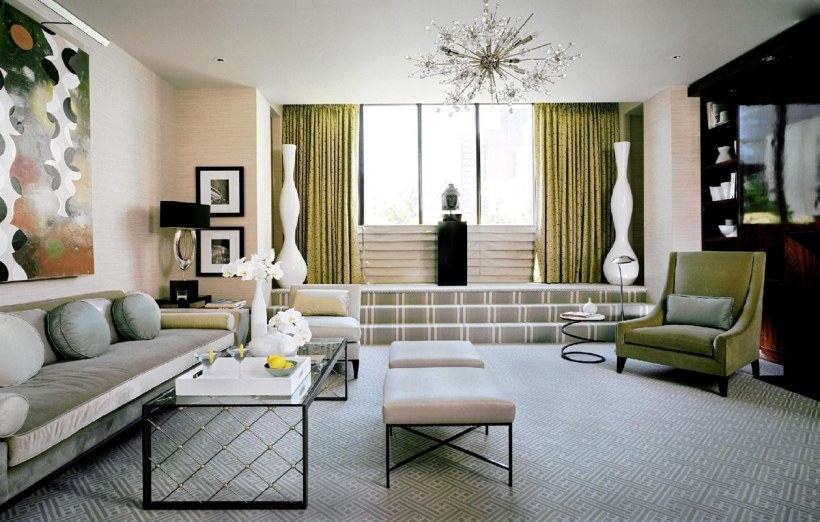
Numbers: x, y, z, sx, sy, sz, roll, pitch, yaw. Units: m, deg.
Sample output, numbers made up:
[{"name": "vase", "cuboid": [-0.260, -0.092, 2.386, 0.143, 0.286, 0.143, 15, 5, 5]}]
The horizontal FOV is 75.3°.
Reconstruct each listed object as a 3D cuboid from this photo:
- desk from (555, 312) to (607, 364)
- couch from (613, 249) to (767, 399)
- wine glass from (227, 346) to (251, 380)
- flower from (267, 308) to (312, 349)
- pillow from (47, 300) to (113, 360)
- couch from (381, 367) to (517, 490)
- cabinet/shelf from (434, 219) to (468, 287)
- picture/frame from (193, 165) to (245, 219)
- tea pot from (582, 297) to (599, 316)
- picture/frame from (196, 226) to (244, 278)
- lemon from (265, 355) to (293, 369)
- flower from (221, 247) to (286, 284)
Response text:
[{"name": "desk", "cuboid": [2.211, 0.880, 6.848, 0.559, 0.587, 1.120, 1, 6, 17]}, {"name": "couch", "cuboid": [3.404, 0.591, 6.224, 1.637, 1.782, 1.632, 0, -3, 44]}, {"name": "wine glass", "cuboid": [-1.456, 0.867, 4.521, 0.248, 0.250, 0.233, 0, 2, -12]}, {"name": "flower", "cuboid": [-1.075, 0.605, 4.846, 0.384, 0.353, 0.155, -11, -26, -10]}, {"name": "pillow", "cuboid": [-3.022, 0.627, 4.860, 0.231, 0.491, 0.515, -21, -2, 26]}, {"name": "couch", "cuboid": [0.328, 1.350, 4.458, 1.068, 0.768, 0.671, -1, 6, 0]}, {"name": "cabinet/shelf", "cuboid": [0.662, -0.130, 8.407, 0.455, 1.003, 0.237, -2, 7, -6]}, {"name": "picture/frame", "cuboid": [-2.637, -0.964, 7.240, 0.892, 0.873, 0.060, 0, 2, -6]}, {"name": "tea pot", "cuboid": [2.354, 0.603, 6.953, 0.202, 0.238, 0.197, 2, 5, 0]}, {"name": "picture/frame", "cuboid": [-2.547, -0.118, 6.996, 0.772, 0.790, 0.057, 0, -2, -7]}, {"name": "lemon", "cuboid": [-1.063, 0.813, 4.331, 0.126, 0.069, 0.157, 4, -1, 1]}, {"name": "flower", "cuboid": [-1.463, 0.071, 5.208, 0.637, 0.311, 0.631, 1, -1, -1]}]
